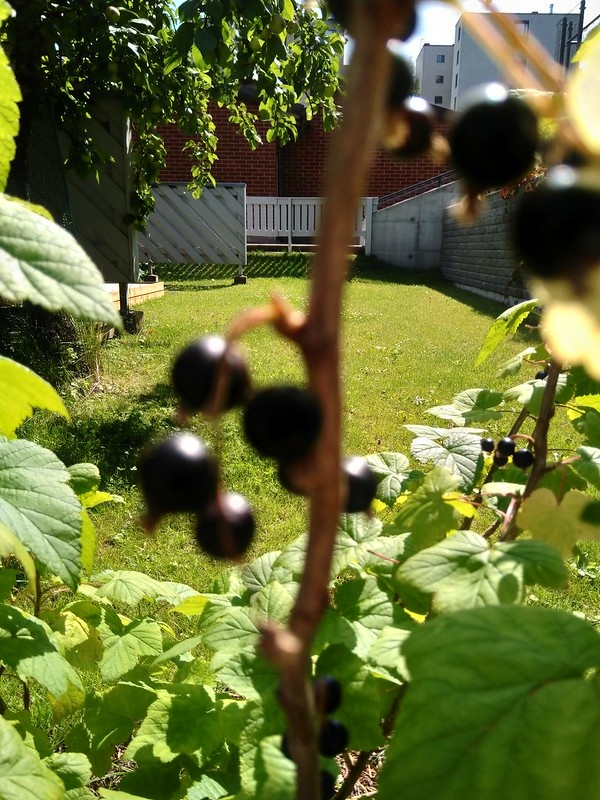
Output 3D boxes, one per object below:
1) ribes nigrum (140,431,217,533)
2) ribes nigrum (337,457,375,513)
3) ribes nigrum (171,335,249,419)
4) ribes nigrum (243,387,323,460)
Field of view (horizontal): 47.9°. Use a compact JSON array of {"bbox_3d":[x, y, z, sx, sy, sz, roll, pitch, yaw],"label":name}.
[{"bbox_3d":[-0.066,0.050,0.457,0.049,0.061,0.048,29,-18,2],"label":"ribes nigrum"},{"bbox_3d":[0.042,0.070,0.559,0.038,0.040,0.028,-4,-32,-4],"label":"ribes nigrum"},{"bbox_3d":[-0.042,-0.009,0.373,0.048,0.052,0.045,4,-2,-3],"label":"ribes nigrum"},{"bbox_3d":[-0.009,0.011,0.330,0.039,0.037,0.035,-10,-7,7],"label":"ribes nigrum"}]
